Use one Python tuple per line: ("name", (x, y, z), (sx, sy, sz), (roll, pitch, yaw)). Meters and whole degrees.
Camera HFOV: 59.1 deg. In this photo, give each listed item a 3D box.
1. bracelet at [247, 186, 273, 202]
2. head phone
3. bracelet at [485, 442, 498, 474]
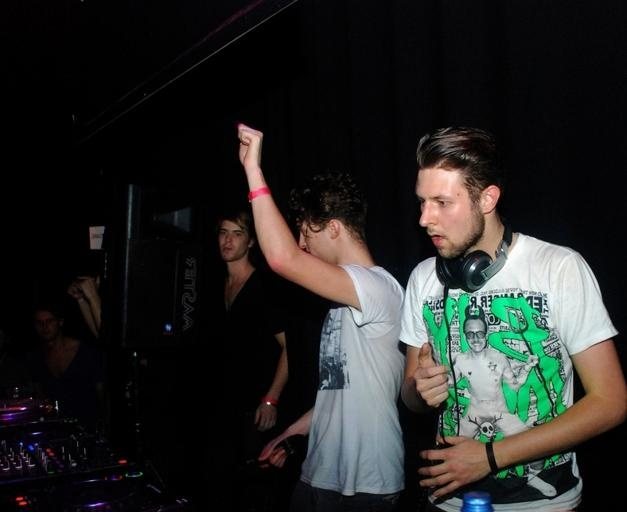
("bracelet", (-0.182, -0.196, 1.900), (0.059, 0.024, 0.060), (-30, -5, 32))
("head phone", (0.494, -0.004, 1.689), (0.097, 0.242, 0.209), (54, -28, -18))
("bracelet", (0.502, 0.568, 1.564), (0.029, 0.079, 0.035), (-6, -15, 15))
